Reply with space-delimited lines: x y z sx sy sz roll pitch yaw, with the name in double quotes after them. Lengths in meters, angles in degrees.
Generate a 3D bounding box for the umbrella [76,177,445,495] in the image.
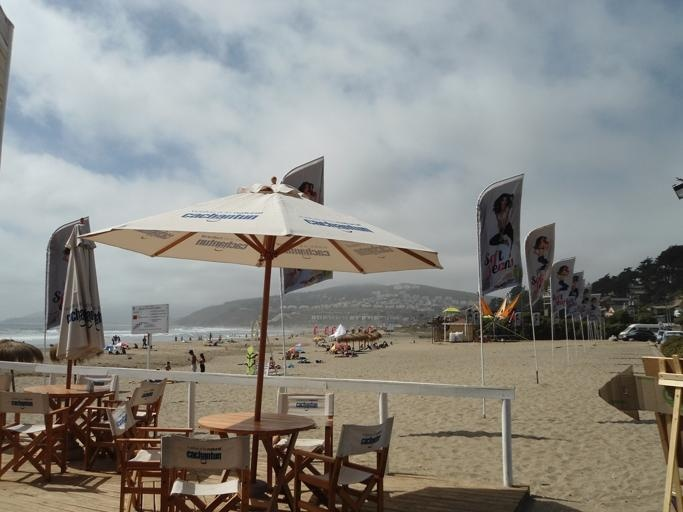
-0.750 0.390 5.928 3.427 2.685 2.469 -5 -9 18 "umbrella"
